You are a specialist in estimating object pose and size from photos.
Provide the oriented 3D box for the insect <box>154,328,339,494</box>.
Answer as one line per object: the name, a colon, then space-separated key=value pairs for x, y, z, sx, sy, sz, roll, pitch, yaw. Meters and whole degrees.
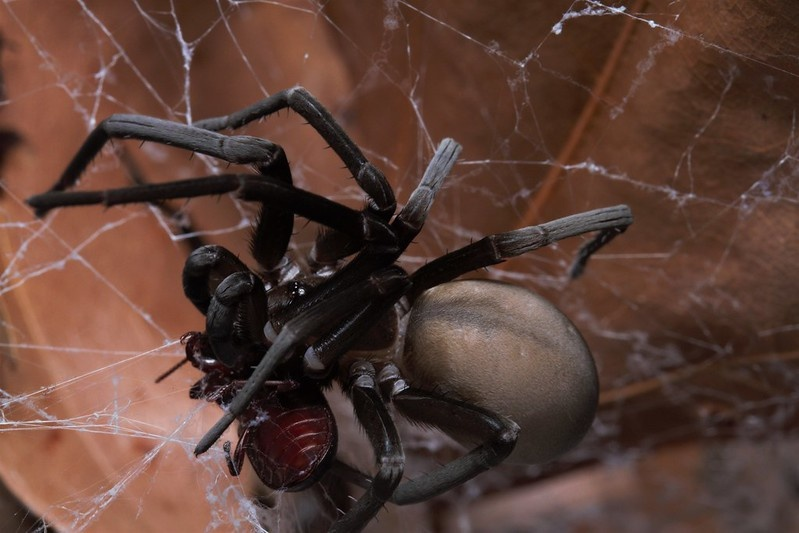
insect: x=-0.274 y=0.270 z=1.727 sx=0.346 sy=0.230 sz=0.118 roll=39 pitch=15 yaw=15
